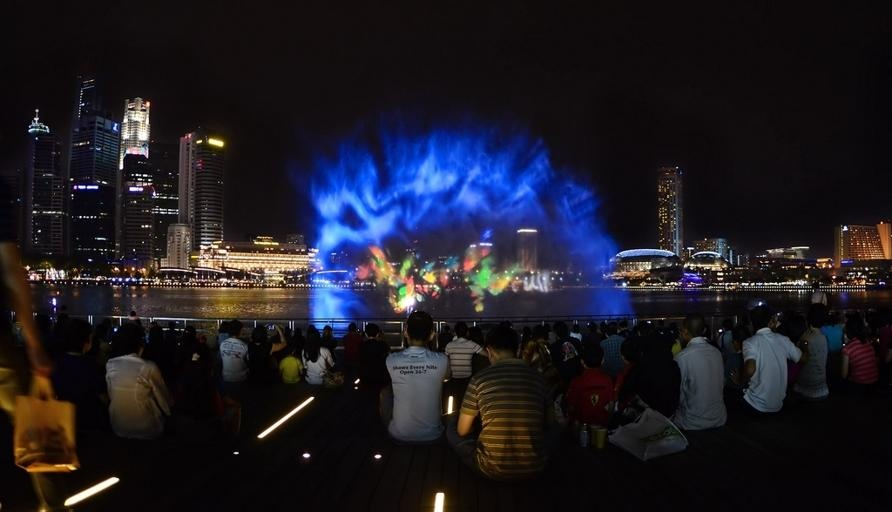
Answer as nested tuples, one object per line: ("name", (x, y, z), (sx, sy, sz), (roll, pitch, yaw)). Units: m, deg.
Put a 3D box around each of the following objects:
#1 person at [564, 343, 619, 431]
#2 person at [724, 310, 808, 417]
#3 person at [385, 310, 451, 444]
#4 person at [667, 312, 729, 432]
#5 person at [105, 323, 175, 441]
("person", (2.802, 2.514, 13.867), (0.920, 1.646, 0.460), (-3, -2, 10))
("person", (6.406, 2.119, 14.314), (1.062, 1.735, 0.618), (-3, -2, 14))
("person", (-0.552, 2.341, 13.419), (1.091, 2.369, 0.473), (-3, -2, -3))
("person", (4.962, 2.313, 14.016), (0.998, 1.655, 0.585), (-3, -2, 8))
("person", (-5.826, 2.387, 13.451), (1.105, 2.199, 0.523), (-2, -2, -20))
